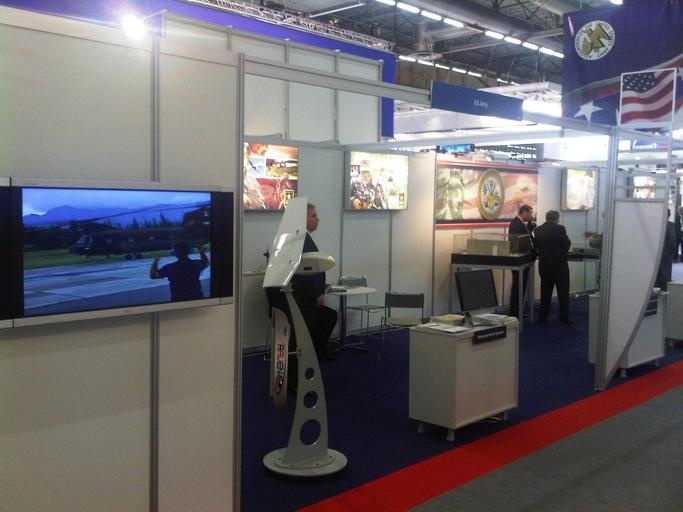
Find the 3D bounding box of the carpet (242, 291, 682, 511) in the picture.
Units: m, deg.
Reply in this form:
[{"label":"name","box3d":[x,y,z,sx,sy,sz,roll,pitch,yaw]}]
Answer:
[{"label":"carpet","box3d":[1.638,1.357,6.484,6.518,0.090,3.842,-2,7,-24]}]

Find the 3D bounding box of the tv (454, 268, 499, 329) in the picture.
[{"label":"tv","box3d":[1.227,0.431,4.873,0.492,0.529,0.179,-3,-13,-34]}]

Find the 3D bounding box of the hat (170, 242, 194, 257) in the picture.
[{"label":"hat","box3d":[-0.878,-0.030,2.893,0.065,0.089,0.080,4,-20,-9]}]

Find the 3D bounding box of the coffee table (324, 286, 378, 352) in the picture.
[{"label":"coffee table","box3d":[0.114,0.828,6.957,0.756,0.677,0.851,1,2,4]}]
